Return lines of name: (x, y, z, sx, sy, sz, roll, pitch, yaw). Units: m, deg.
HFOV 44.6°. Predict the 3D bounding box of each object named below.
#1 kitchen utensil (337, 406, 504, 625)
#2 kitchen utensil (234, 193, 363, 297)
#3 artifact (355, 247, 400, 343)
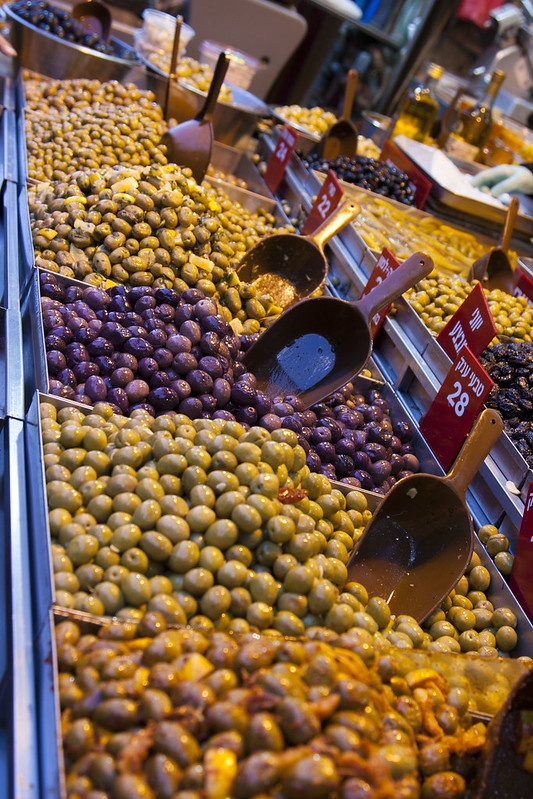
kitchen utensil: (0.434, 0.306, 1.699, 0.219, 0.107, 0.745, 28, 52, 25)
kitchen utensil: (0.130, -0.544, 2.619, 0.300, 0.530, 0.164, 49, 16, 12)
artifact: (0.460, -0.405, 2.436, 0.346, 0.055, 0.086, 55, 20, -16)
